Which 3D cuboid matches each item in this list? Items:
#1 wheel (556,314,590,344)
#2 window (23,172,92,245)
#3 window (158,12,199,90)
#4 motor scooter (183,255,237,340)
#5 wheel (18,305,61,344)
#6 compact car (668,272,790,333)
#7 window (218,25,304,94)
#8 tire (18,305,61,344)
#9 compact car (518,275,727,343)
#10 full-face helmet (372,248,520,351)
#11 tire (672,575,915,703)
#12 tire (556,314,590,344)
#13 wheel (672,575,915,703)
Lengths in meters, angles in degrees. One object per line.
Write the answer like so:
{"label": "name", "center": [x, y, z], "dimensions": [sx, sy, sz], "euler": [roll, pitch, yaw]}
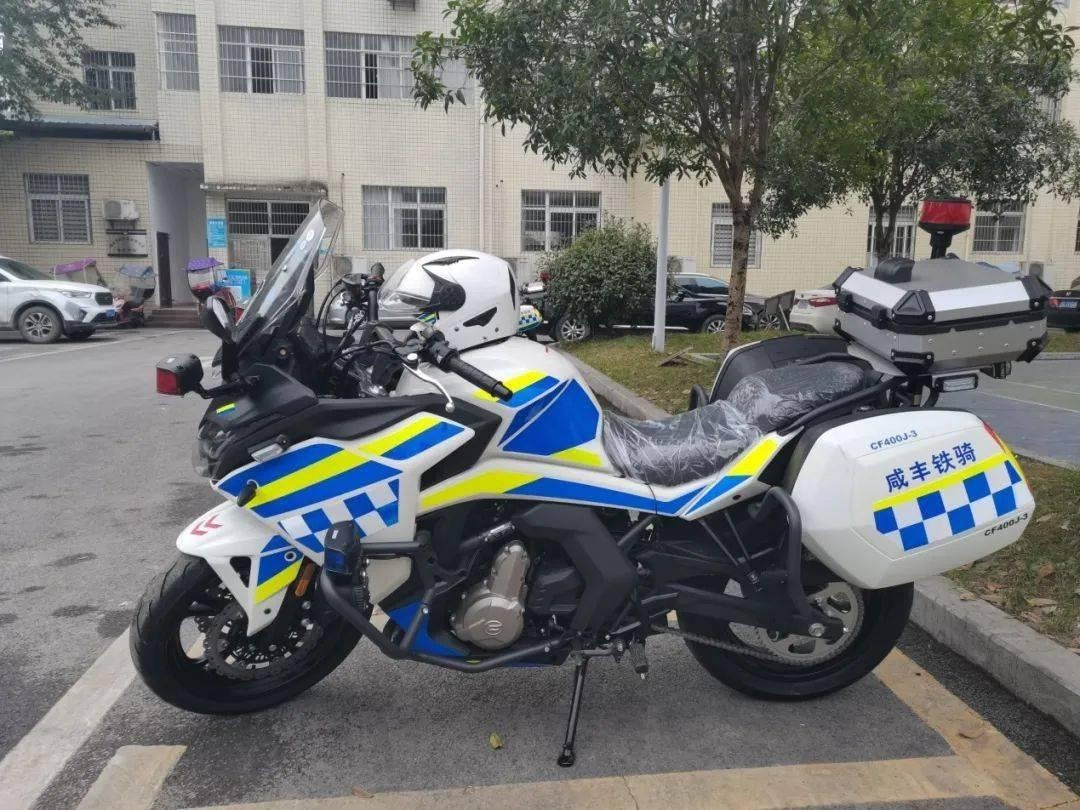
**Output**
{"label": "wheel", "center": [0.654, -1.491, 17.288], "dimensions": [0.494, 0.561, 0.190], "euler": [7, 15, -4]}
{"label": "window", "center": [-13.075, -5.427, 24.337], "dimensions": [1.682, 2.306, 0.165], "euler": [1, 11, -7]}
{"label": "window", "center": [-9.601, -9.378, 23.859], "dimensions": [0.954, 1.961, 0.409], "euler": [-6, 13, -22]}
{"label": "motor scooter", "center": [-1.397, -0.486, 3.862], "dimensions": [0.190, 0.224, 0.727], "euler": [-6, 13, -21]}
{"label": "wheel", "center": [-9.397, -1.513, 16.883], "dimensions": [0.762, 0.719, 0.350], "euler": [-7, 14, -26]}
{"label": "compact car", "center": [4.007, -2.332, 19.389], "dimensions": [2.656, 1.126, 1.357], "euler": [-2, 13, -2]}
{"label": "window", "center": [-7.467, -9.317, 23.899], "dimensions": [1.657, 1.342, 0.130], "euler": [1, 17, -8]}
{"label": "tire", "center": [-9.405, -1.540, 16.877], "dimensions": [0.495, 0.533, 0.164], "euler": [-28, 3, -1]}
{"label": "compact car", "center": [1.778, -1.554, 18.062], "dimensions": [4.214, 1.613, 2.122], "euler": [-2, 19, -4]}
{"label": "full-face helmet", "center": [-0.424, -0.508, 4.170], "dimensions": [0.636, 0.466, 0.509], "euler": [2, 10, -12]}
{"label": "tire", "center": [1.158, 1.077, 4.121], "dimensions": [0.562, 0.642, 0.118], "euler": [2, 10, 1]}
{"label": "tire", "center": [0.654, -1.491, 17.288], "dimensions": [0.494, 0.561, 0.190], "euler": [7, 15, -4]}
{"label": "wheel", "center": [1.158, 1.077, 4.121], "dimensions": [0.562, 0.642, 0.118], "euler": [2, 10, 1]}
